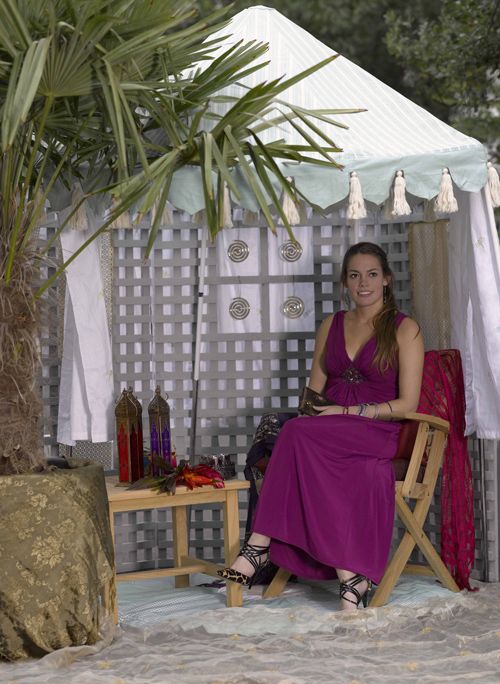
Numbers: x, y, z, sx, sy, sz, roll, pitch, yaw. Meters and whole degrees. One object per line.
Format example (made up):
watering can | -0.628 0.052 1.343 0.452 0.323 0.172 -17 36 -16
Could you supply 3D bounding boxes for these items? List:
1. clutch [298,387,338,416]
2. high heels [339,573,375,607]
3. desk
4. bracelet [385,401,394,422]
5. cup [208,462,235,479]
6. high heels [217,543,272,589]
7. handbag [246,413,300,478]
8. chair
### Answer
clutch | 0.303 0.281 3.795 0.136 0.130 0.036 28 -26 -31
high heels | 0.462 1.024 3.431 0.087 0.097 0.254 -13 -33 21
desk | -0.453 0.900 3.795 0.635 0.543 0.655 9 -13 -30
bracelet | 0.621 0.305 3.704 0.016 0.055 0.055 -5 10 -4
cup | -0.104 0.579 3.817 0.092 0.056 0.093 0 -3 0
high heels | 0.014 0.933 3.531 0.112 0.118 0.319 1 -2 34
handbag | 0.069 0.477 3.975 0.259 0.291 0.091 3 4 3
chair | 0.631 0.689 4.120 0.898 1.014 0.890 5 -6 -39
